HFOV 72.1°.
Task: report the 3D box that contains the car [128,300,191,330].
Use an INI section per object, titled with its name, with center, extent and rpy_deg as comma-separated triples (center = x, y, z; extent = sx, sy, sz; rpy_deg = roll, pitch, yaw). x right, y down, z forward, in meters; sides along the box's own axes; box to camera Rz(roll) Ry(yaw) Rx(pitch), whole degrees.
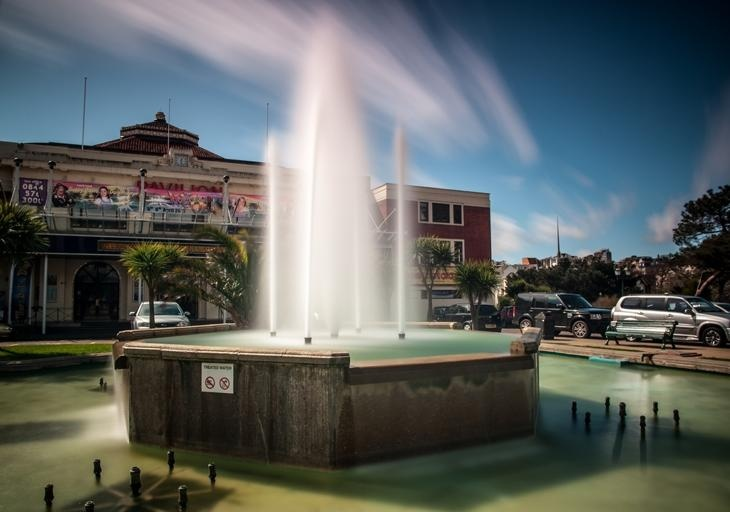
[car]
center = -9.618, 2.676, 23.589
extent = 2.290, 1.099, 3.281
rpy_deg = 0, -1, -21

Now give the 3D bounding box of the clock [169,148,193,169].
[clock]
center = -15.320, -8.069, 41.459
extent = 1.752, 1.742, 1.660
rpy_deg = 2, -5, -37
